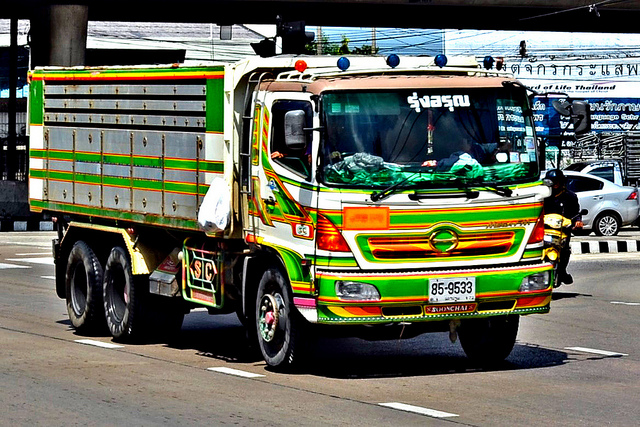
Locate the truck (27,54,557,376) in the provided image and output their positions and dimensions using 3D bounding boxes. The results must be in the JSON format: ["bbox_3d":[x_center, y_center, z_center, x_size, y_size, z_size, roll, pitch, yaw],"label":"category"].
[{"bbox_3d":[-1.139,-0.251,12.131,8.699,4.339,3.050,1,0,40],"label":"truck"}]

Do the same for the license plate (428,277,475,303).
[{"bbox_3d":[1.501,0.888,9.660,0.771,0.378,0.088,0,-4,-32],"label":"license plate"}]
